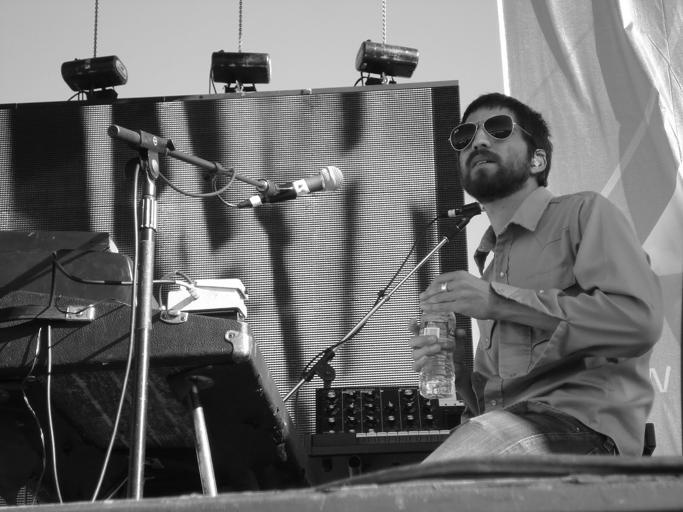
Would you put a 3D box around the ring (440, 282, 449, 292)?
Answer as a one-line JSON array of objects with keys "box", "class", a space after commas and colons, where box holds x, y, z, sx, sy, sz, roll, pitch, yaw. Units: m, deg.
[{"box": [0.381, 0.115, 4.560, 0.009, 0.029, 0.029, 13, 19, -22], "class": "ring"}]

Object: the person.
[{"box": [0.734, 0.011, 4.549, 0.741, 1.366, 1.055, 3, -2, -26], "class": "person"}]
